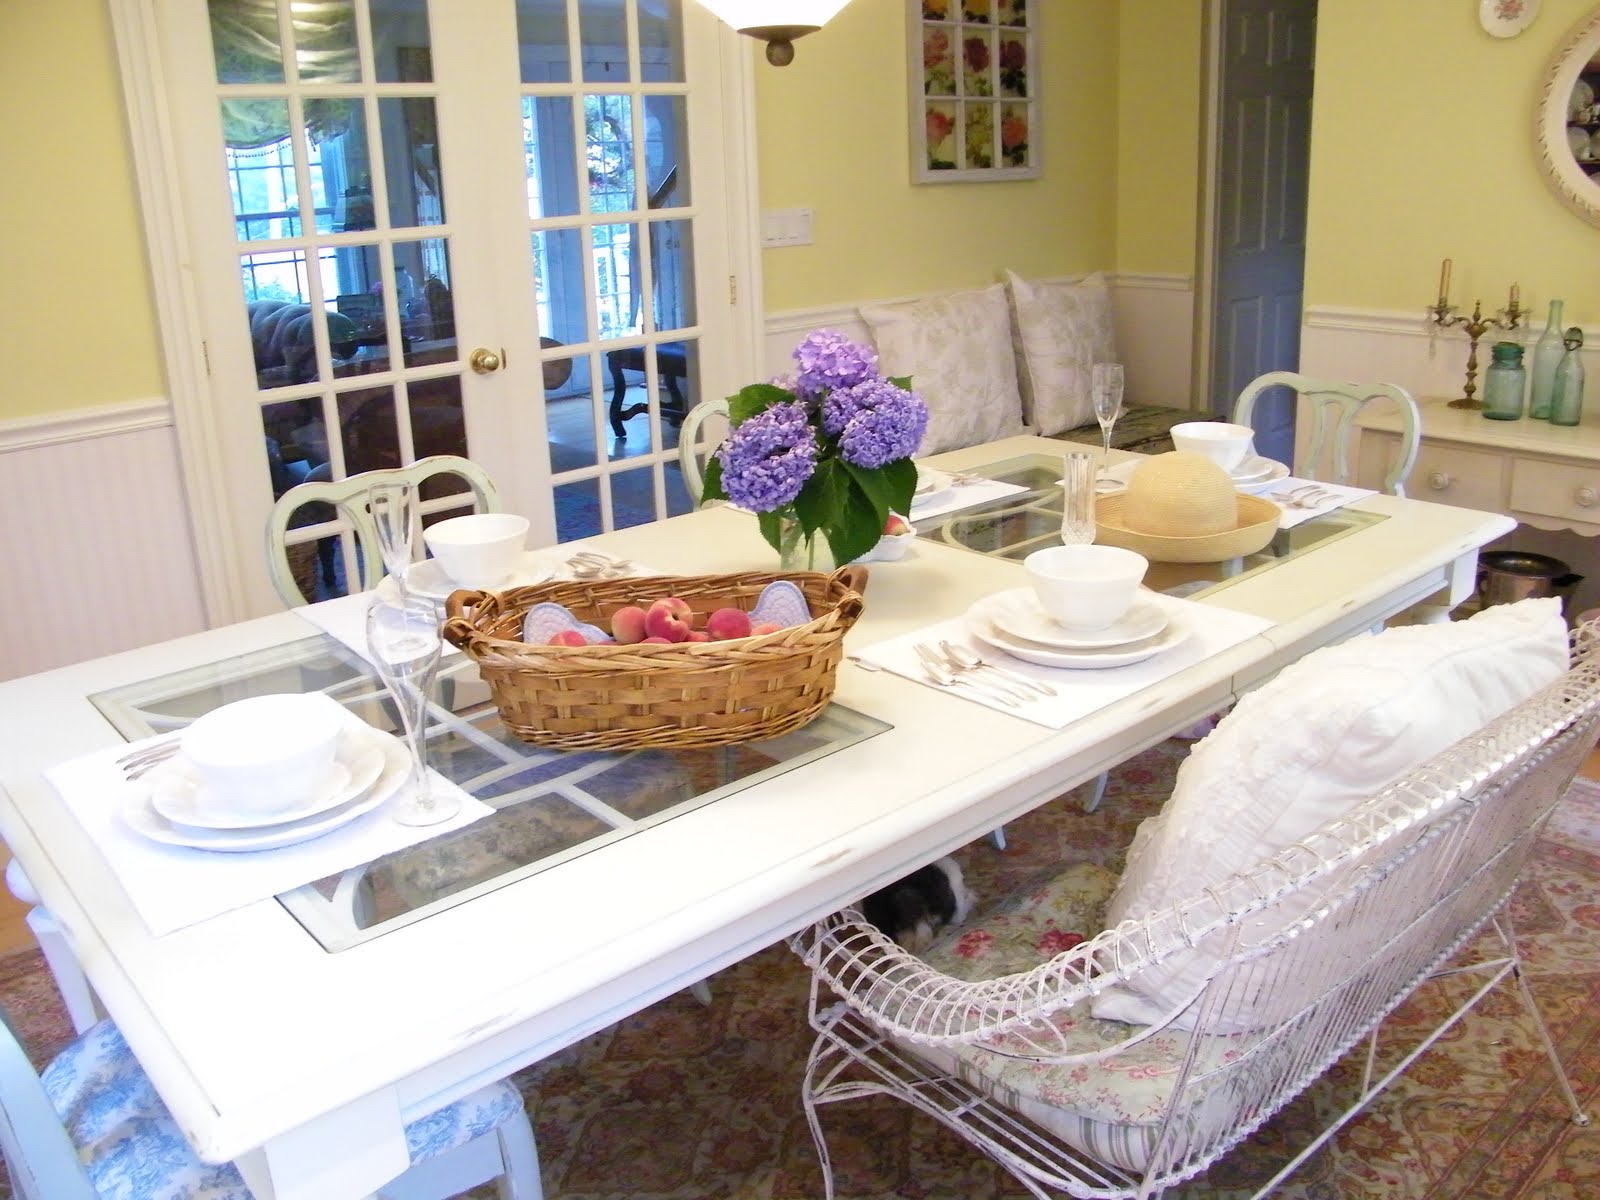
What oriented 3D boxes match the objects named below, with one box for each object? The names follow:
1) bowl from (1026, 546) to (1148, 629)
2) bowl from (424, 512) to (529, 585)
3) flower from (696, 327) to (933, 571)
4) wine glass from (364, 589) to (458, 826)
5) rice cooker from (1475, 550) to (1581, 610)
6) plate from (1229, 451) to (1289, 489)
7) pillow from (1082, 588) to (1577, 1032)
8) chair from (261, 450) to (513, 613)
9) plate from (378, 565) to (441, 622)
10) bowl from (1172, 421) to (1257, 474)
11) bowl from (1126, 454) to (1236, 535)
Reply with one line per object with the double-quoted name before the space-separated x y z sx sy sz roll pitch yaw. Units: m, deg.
"bowl" 0.437 -0.042 1.805 0.208 0.125 0.240 1 13 15
"bowl" -0.573 -0.070 2.030 0.203 0.112 0.200 -6 1 0
"flower" 0.032 -0.275 2.021 0.319 0.401 0.344 -17 26 -40
"wine glass" -0.467 0.141 1.397 0.095 0.281 0.123 -12 25 -35
"rice cooker" 2.081 -0.057 3.341 0.140 0.135 0.158 17 32 35
"plate" 0.993 -0.276 2.528 0.120 0.021 0.099 21 41 37
"pillow" 0.475 0.165 1.567 0.530 0.527 0.786 15 24 43
"chair" -0.935 -0.150 2.510 0.353 0.348 0.403 15 25 28
"plate" -0.518 -0.008 1.546 0.048 0.101 0.044 18 35 17
"bowl" 0.878 -0.324 2.480 0.161 0.101 0.177 -3 18 1
"bowl" 0.702 -0.203 2.147 0.164 0.097 0.161 -5 28 3
